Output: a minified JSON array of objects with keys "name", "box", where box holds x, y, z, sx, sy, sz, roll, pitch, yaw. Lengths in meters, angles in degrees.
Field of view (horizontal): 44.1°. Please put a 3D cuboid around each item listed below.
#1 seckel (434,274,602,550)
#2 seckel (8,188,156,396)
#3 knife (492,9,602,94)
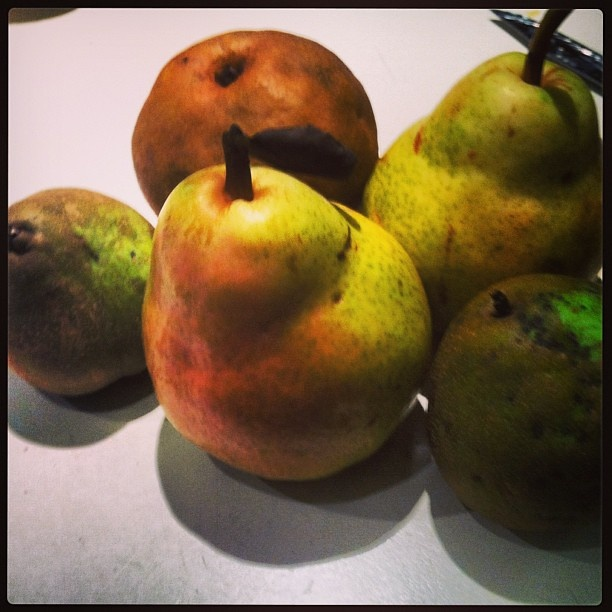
[{"name":"seckel","box":[0.260,0.115,0.922,0.189,0.237,0.191,-21,35,-3]},{"name":"seckel","box":[-0.294,-0.018,0.988,0.182,0.177,0.199,0,49,-4]},{"name":"knife","box":[0.301,-0.322,0.968,0.196,0.015,0.039,34,73,1]}]
